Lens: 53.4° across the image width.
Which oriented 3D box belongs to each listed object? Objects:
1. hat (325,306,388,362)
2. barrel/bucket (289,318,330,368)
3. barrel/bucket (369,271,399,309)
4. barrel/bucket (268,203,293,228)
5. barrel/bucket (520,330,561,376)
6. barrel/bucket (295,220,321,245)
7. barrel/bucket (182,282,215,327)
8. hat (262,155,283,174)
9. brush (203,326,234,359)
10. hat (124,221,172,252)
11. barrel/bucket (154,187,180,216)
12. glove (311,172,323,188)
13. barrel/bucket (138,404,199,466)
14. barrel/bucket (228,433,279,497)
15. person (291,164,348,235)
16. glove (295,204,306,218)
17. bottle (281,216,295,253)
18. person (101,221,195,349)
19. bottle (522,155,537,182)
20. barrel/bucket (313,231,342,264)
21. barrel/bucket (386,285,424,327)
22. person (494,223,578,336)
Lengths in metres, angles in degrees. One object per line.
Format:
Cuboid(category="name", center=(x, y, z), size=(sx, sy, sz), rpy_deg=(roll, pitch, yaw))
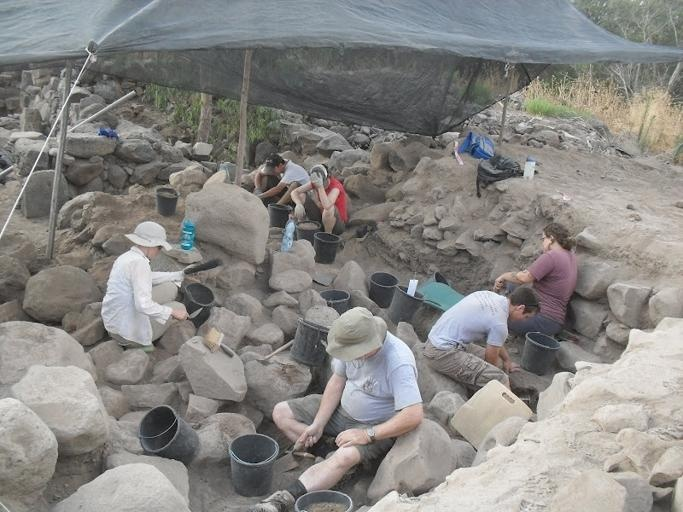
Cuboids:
Cuboid(category="hat", center=(0.136, 0.666, 5.611), size=(0.473, 0.424, 0.252), rpy_deg=(10, 19, 2))
Cuboid(category="barrel/bucket", center=(-0.258, 0.837, 6.730), size=(0.393, 0.416, 0.414), rpy_deg=(18, -3, 1))
Cuboid(category="barrel/bucket", center=(0.466, 0.383, 8.112), size=(0.356, 0.409, 0.383), rpy_deg=(2, 23, -1))
Cuboid(category="barrel/bucket", center=(-0.798, -0.535, 8.954), size=(0.288, 0.316, 0.290), rpy_deg=(9, 23, -4))
Cuboid(category="barrel/bucket", center=(2.022, 0.993, 7.040), size=(0.361, 0.373, 0.397), rpy_deg=(24, 9, 7))
Cuboid(category="barrel/bucket", center=(-0.448, -0.314, 8.928), size=(0.260, 0.231, 0.290), rpy_deg=(0, 13, -6))
Cuboid(category="barrel/bucket", center=(-1.478, 0.509, 7.010), size=(0.295, 0.358, 0.249), rpy_deg=(-9, 51, -42))
Cuboid(category="hat", center=(-0.922, -1.274, 9.440), size=(0.196, 0.201, 0.314), rpy_deg=(3, 21, 10))
Cuboid(category="brush", center=(-1.118, 0.826, 6.312), size=(0.299, 0.120, 0.207), rpy_deg=(34, 36, -23))
Cuboid(category="hat", center=(-1.846, -0.198, 6.487), size=(0.318, 0.181, 0.313), rpy_deg=(7, 15, -16))
Cuboid(category="barrel/bucket", center=(-2.336, -0.775, 9.118), size=(0.328, 0.330, 0.323), rpy_deg=(13, 20, -5))
Cuboid(category="glove", center=(-0.314, -0.988, 8.880), size=(0.198, 0.175, 0.143), rpy_deg=(16, 21, 17))
Cuboid(category="barrel/bucket", center=(-1.449, 1.486, 5.636), size=(0.514, 0.430, 0.297), rpy_deg=(14, 20, 13))
Cuboid(category="barrel/bucket", center=(-0.721, 1.697, 5.586), size=(0.401, 0.401, 0.467), rpy_deg=(4, 25, -3))
Cuboid(category="person", center=(-0.271, -0.743, 9.238), size=(0.792, 1.013, 0.727), rpy_deg=(-14, 27, -41))
Cuboid(category="glove", center=(-0.548, -0.586, 8.987), size=(0.163, 0.211, 0.122), rpy_deg=(2, 20, -19))
Cuboid(category="bottle", center=(-0.633, -0.258, 8.165), size=(0.141, 0.329, 0.392), rpy_deg=(7, 20, -6))
Cuboid(category="person", center=(-1.833, 0.305, 6.520), size=(0.646, 1.208, 0.748), rpy_deg=(22, 23, 32))
Cuboid(category="bottle", center=(2.450, -1.131, 8.763), size=(0.148, 0.275, 0.137), rpy_deg=(8, 19, -3))
Cuboid(category="barrel/bucket", center=(-0.191, -0.125, 8.744), size=(0.339, 0.349, 0.351), rpy_deg=(10, 12, -2))
Cuboid(category="barrel/bucket", center=(0.691, 0.577, 7.580), size=(0.355, 0.416, 0.406), rpy_deg=(40, 16, 33))
Cuboid(category="person", center=(2.151, 0.331, 7.482), size=(0.799, 1.513, 0.667), rpy_deg=(14, 13, 38))
